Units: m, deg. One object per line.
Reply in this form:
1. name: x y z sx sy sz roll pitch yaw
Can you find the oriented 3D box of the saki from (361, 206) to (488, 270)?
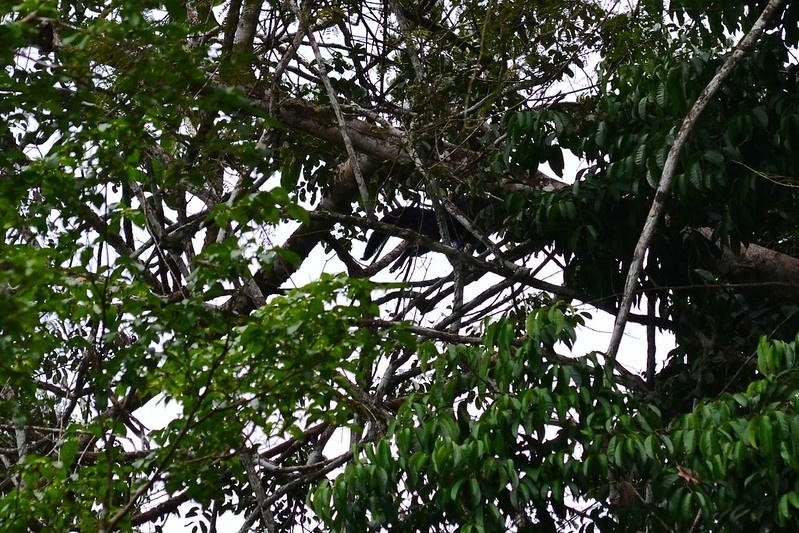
1. saki: 0.216 -0.250 9.286 1.121 0.321 0.592 -12 -90 14
